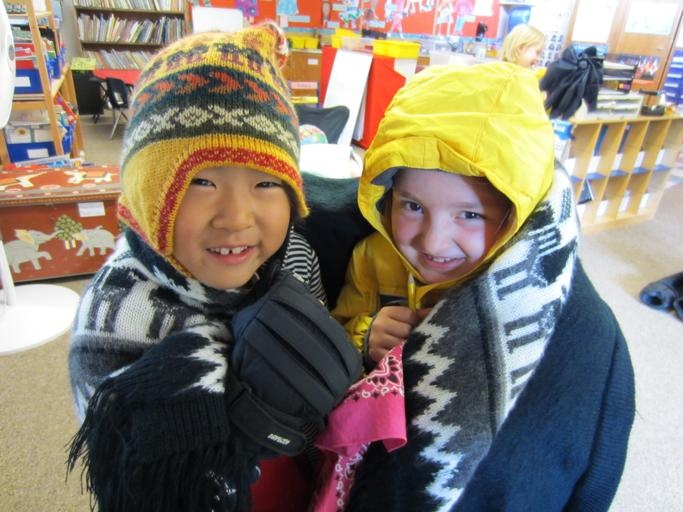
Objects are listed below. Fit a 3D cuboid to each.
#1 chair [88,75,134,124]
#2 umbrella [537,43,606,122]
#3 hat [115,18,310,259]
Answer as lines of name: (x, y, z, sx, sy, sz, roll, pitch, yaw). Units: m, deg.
chair: (-2.145, -1.529, 5.464, 0.309, 0.401, 0.335, -11, -12, -47)
umbrella: (1.309, -1.008, 3.249, 0.285, 0.371, 0.201, 22, 50, 22)
hat: (-0.357, -0.306, 1.387, 0.375, 0.509, 0.475, -5, 8, -25)
